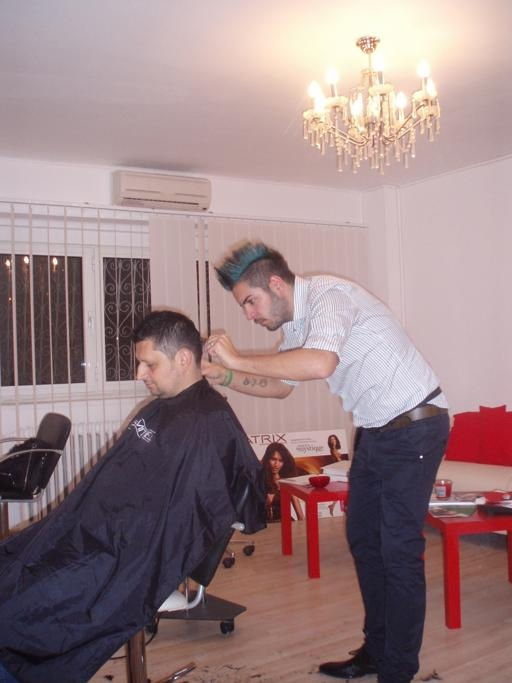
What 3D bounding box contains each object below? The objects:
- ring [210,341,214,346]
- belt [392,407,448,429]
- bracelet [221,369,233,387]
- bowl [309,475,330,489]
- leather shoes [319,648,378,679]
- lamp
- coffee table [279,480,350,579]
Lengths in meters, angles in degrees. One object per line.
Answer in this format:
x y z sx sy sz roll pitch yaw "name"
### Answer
-0.126 0.008 1.891 0.011 0.013 0.003 4 -2 4 "ring"
0.500 0.227 2.001 0.191 0.066 0.051 -2 -1 -17 "belt"
-0.078 0.116 2.045 0.037 0.044 0.047 5 19 4 "bracelet"
0.322 0.714 3.398 0.083 0.039 0.081 -2 -7 0 "bowl"
0.305 1.055 2.205 0.233 0.085 0.076 1 -8 9 "leather shoes"
0.539 -1.103 3.107 0.518 0.423 0.494 12 -22 -33 "lamp"
0.256 0.943 3.419 0.453 0.366 0.420 2 -9 -18 "coffee table"
